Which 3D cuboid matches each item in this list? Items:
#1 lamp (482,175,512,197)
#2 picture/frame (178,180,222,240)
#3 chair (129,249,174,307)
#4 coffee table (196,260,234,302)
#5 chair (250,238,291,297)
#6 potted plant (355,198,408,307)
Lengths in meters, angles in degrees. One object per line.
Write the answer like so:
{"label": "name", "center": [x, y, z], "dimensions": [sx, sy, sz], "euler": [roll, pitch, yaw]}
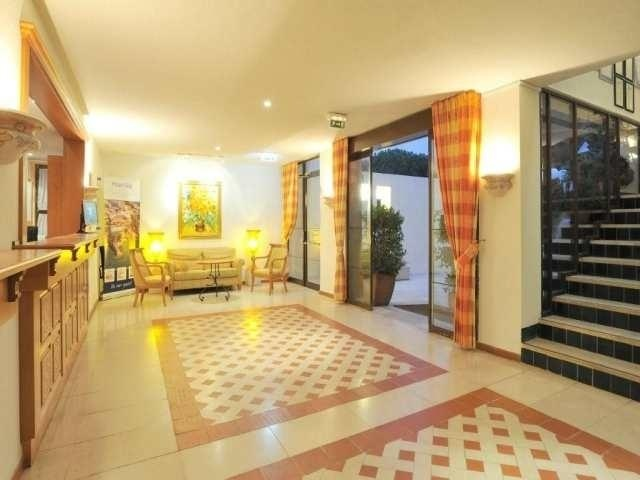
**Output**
{"label": "lamp", "center": [2.098, -0.652, 5.039], "dimensions": [0.252, 0.190, 0.248], "euler": [0, -4, 0]}
{"label": "picture/frame", "center": [-2.643, -0.671, 9.421], "dimensions": [0.957, 1.272, 0.366], "euler": [-5, 14, -18]}
{"label": "chair", "center": [-3.023, 0.609, 7.793], "dimensions": [0.750, 0.968, 0.770], "euler": [-2, 2, -34]}
{"label": "coffee table", "center": [-2.144, 0.775, 8.710], "dimensions": [0.685, 0.860, 0.727], "euler": [-1, 5, -28]}
{"label": "chair", "center": [-1.063, 0.563, 9.106], "dimensions": [0.665, 0.977, 0.702], "euler": [2, 1, -32]}
{"label": "potted plant", "center": [1.236, 0.221, 7.767], "dimensions": [0.577, 1.769, 0.935], "euler": [2, 14, 10]}
